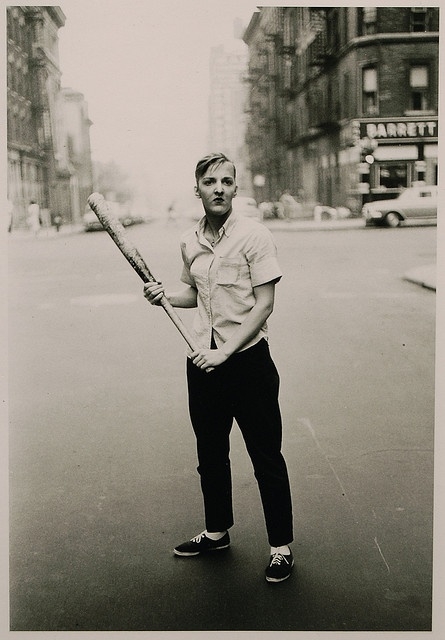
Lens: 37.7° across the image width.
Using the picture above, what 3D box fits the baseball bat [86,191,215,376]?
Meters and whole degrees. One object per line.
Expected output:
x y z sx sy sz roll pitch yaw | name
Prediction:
-0.361 -0.207 3.081 0.088 1.060 0.104 -37 -8 19 | baseball bat

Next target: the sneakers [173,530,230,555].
-0.092 0.985 2.901 0.271 0.104 0.094 -3 -6 -11 | sneakers

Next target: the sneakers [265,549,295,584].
0.221 1.004 2.651 0.074 0.063 0.154 -3 -4 15 | sneakers
